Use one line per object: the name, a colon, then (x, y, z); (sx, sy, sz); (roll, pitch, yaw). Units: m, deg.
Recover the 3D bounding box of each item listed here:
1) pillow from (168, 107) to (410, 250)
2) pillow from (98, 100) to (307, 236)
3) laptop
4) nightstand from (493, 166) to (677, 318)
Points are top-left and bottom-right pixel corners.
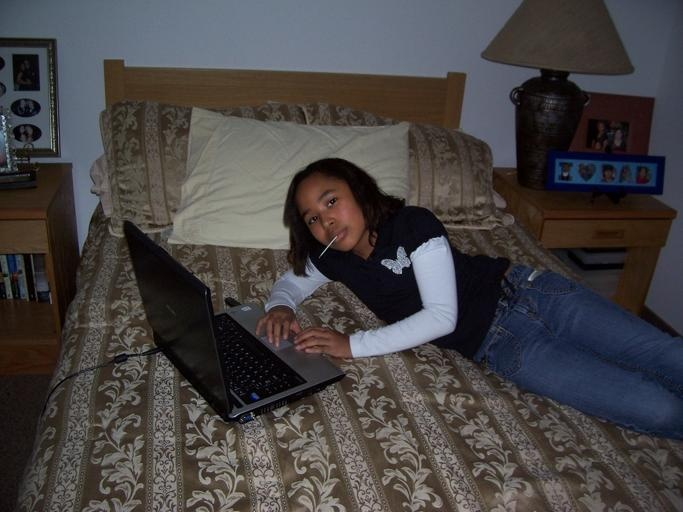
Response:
pillow: (-0.206, -0.338, 1.940); (0.812, 0.562, 0.112); (3, -11, -14)
pillow: (-0.844, -0.342, 2.393); (0.780, 0.496, 0.214); (-4, -3, -11)
laptop: (-0.234, 0.007, 1.318); (0.470, 0.440, 0.630); (-20, 33, -29)
nightstand: (1.135, -0.038, 2.762); (0.768, 0.752, 0.628); (2, 37, -2)
